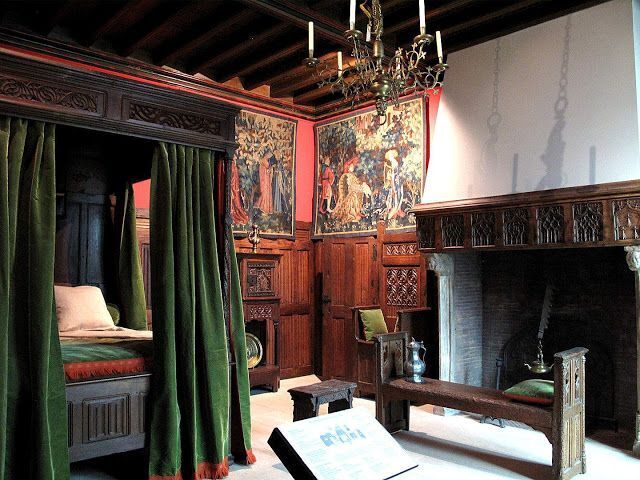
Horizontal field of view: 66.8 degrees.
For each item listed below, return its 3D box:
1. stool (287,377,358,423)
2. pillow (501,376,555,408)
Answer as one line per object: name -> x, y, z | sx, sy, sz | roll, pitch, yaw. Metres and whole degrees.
stool -> 0.014, 1.773, 5.334 | 0.379, 0.391, 0.667 | -2, -1, 44
pillow -> 2.226, 1.560, 5.019 | 0.317, 0.121, 0.336 | -5, -3, -27
